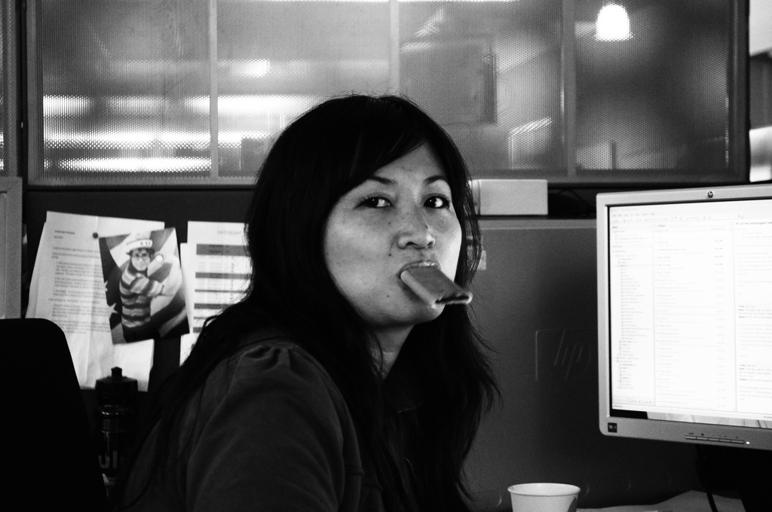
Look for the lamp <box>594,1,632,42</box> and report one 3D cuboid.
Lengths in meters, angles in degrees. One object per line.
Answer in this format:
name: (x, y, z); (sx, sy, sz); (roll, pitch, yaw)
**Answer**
lamp: (0.650, -0.669, 2.173); (0.103, 0.122, 0.103); (-1, 4, 3)
